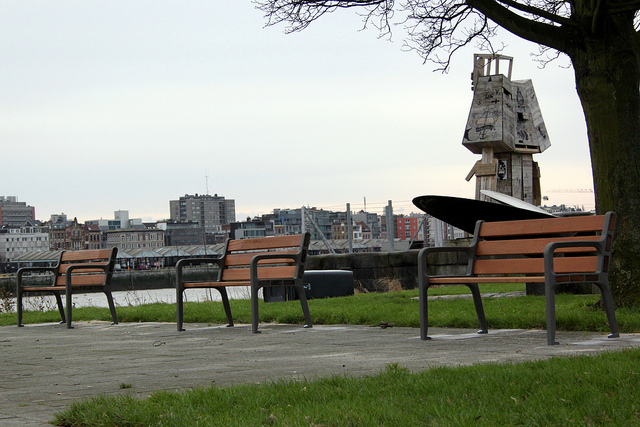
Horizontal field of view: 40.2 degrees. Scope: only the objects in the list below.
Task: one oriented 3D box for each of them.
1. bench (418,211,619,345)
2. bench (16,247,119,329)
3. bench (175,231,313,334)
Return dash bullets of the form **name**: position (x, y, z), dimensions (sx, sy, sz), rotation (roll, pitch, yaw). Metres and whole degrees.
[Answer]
- **bench**: position (2.160, 0.757, 9.780), dimensions (1.063, 1.434, 2.241), rotation (0, -4, -28)
- **bench**: position (-3.919, 1.144, 13.688), dimensions (1.387, 1.263, 2.103), rotation (0, -6, -32)
- **bench**: position (-1.064, 0.956, 11.825), dimensions (0.902, 1.320, 1.999), rotation (2, -6, -37)
